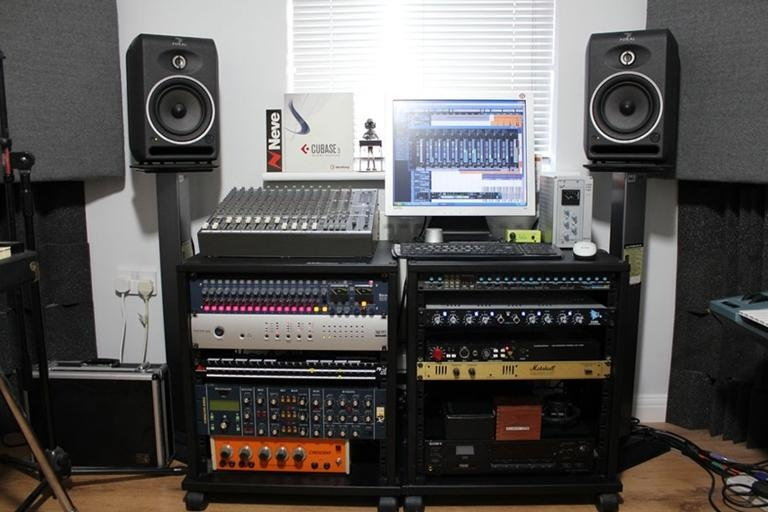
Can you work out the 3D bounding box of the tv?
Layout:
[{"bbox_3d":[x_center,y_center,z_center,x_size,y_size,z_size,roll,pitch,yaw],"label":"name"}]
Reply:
[{"bbox_3d":[0.364,-0.486,3.485,0.697,0.570,0.045,3,12,19],"label":"tv"}]

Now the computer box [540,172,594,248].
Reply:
[{"bbox_3d":[0.951,-0.206,3.511,0.196,0.321,0.320,3,3,35],"label":"computer box"}]

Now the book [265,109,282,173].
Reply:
[{"bbox_3d":[-0.530,-0.578,3.658,0.090,0.311,0.038,-4,8,-6],"label":"book"}]

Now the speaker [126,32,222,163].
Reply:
[{"bbox_3d":[-0.944,-0.737,3.415,0.392,0.569,0.364,-6,16,-35],"label":"speaker"}]

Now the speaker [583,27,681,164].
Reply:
[{"bbox_3d":[1.143,-0.743,3.383,0.378,0.594,0.364,6,15,33],"label":"speaker"}]

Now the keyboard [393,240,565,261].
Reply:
[{"bbox_3d":[0.418,-0.021,3.273,0.737,0.077,0.261,-3,8,0],"label":"keyboard"}]

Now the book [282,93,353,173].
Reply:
[{"bbox_3d":[-0.307,-0.630,3.632,0.401,0.388,0.130,0,10,-1],"label":"book"}]

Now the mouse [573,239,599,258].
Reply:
[{"bbox_3d":[0.890,-0.037,3.250,0.084,0.053,0.082,-1,9,-1],"label":"mouse"}]
